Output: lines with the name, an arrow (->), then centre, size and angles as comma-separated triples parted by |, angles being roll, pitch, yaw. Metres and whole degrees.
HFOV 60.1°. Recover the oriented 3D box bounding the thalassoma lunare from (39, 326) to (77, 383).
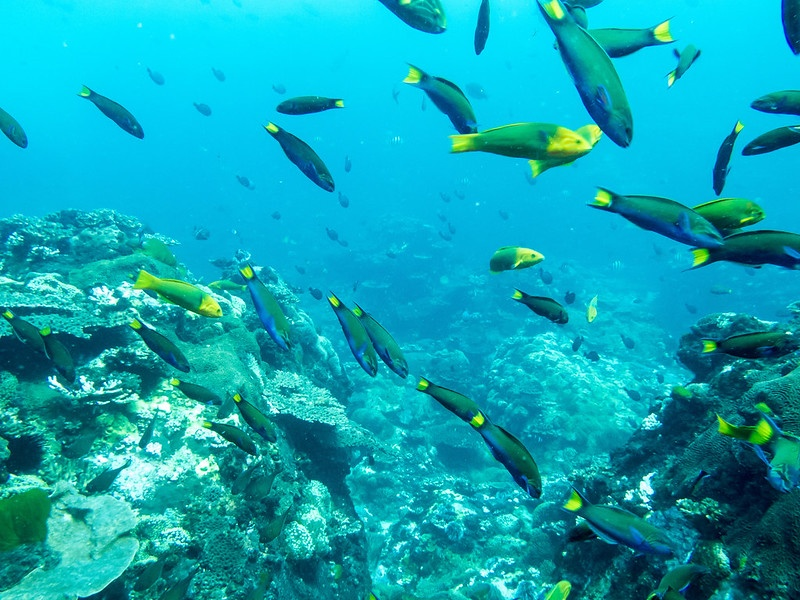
thalassoma lunare -> -5.546, 0.874, 11.221 | 0.366, 1.031, 0.279 | -3, 27, 4
